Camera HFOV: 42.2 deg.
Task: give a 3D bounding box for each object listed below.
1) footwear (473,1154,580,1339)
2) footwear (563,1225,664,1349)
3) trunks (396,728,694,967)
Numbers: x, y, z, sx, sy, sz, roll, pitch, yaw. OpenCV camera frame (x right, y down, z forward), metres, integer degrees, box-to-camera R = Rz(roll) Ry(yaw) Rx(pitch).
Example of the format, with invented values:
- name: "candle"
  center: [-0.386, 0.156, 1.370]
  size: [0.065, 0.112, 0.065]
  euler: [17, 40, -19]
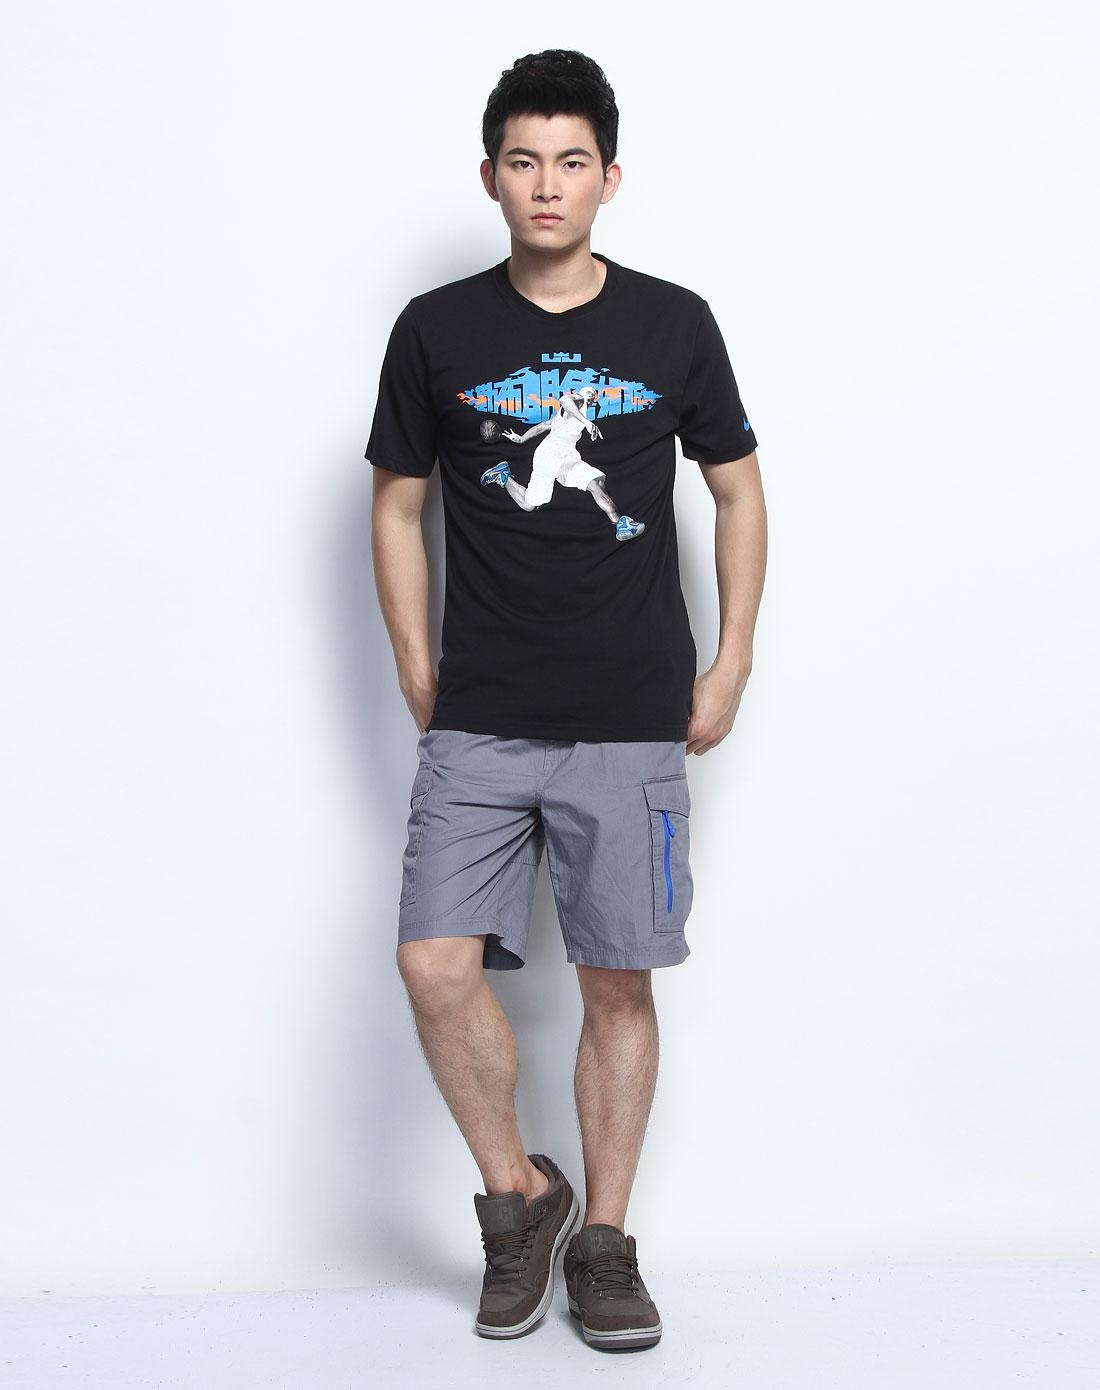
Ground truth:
- name: "footwear"
  center: [-0.025, 0.740, 1.954]
  size: [0.088, 0.121, 0.252]
  euler: [-4, 38, 22]
- name: "footwear"
  center: [0.082, 0.788, 1.900]
  size: [0.108, 0.156, 0.141]
  euler: [-1, 0, -8]
- name: "trunks"
  center: [-0.003, 0.200, 1.987]
  size: [0.412, 0.357, 0.219]
  euler: [-1, -12, 6]
